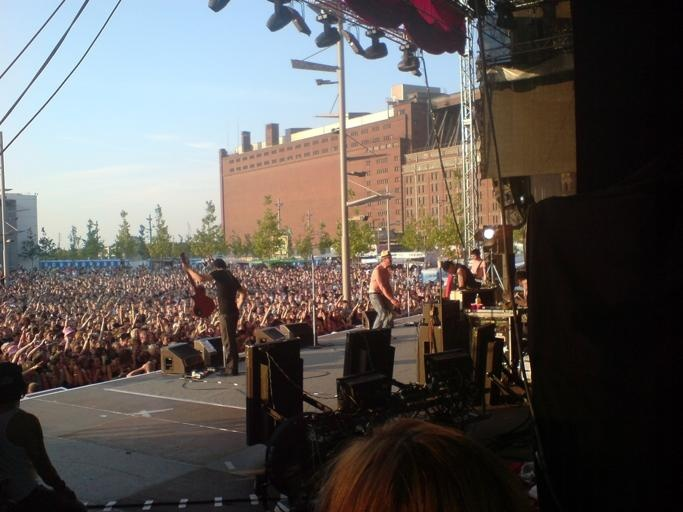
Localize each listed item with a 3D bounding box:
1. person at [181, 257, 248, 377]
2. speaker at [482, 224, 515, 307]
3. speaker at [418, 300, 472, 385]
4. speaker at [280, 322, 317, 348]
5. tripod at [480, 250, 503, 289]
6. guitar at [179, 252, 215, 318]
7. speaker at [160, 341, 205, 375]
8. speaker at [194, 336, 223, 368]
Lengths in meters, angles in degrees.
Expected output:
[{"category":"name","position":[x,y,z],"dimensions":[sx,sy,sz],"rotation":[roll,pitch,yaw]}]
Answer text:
[{"category":"person","position":[-1.482,1.010,8.670],"dimensions":[0.188,1.802,0.641],"rotation":[-15,6,16]},{"category":"speaker","position":[2.518,0.186,11.547],"dimensions":[0.470,1.096,0.569],"rotation":[-9,12,-7]},{"category":"speaker","position":[1.034,0.894,7.048],"dimensions":[0.593,0.814,1.635],"rotation":[-4,-1,10]},{"category":"speaker","position":[-0.678,1.240,10.638],"dimensions":[0.397,0.336,1.468],"rotation":[-4,-2,4]},{"category":"tripod","position":[2.871,0.271,12.641],"dimensions":[0.399,0.660,0.412],"rotation":[-1,-1,45]},{"category":"guitar","position":[-4.414,0.793,20.894],"dimensions":[0.254,2.147,0.754],"rotation":[17,47,36]},{"category":"speaker","position":[-2.073,1.300,8.912],"dimensions":[0.417,0.352,0.485],"rotation":[-2,11,17]},{"category":"speaker","position":[-1.743,1.323,9.407],"dimensions":[0.272,0.418,0.554],"rotation":[1,0,23]}]
